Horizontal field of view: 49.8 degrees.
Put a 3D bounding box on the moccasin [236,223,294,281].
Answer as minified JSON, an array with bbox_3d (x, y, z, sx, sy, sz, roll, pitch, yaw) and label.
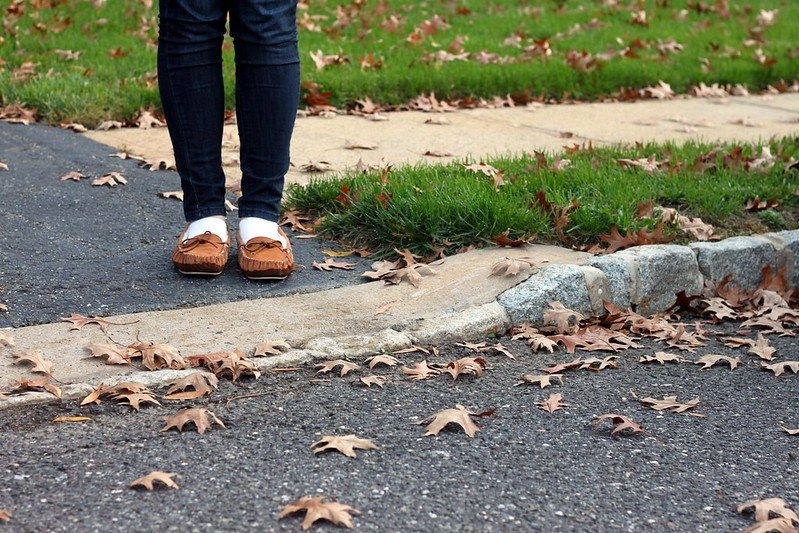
[{"bbox_3d":[-0.648,-0.064,4.180,0.271,0.126,0.449,1,18,-9],"label":"moccasin"}]

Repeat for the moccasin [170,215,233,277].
[{"bbox_3d":[-0.931,-0.122,4.118,0.268,0.159,0.436,5,30,-3],"label":"moccasin"}]
